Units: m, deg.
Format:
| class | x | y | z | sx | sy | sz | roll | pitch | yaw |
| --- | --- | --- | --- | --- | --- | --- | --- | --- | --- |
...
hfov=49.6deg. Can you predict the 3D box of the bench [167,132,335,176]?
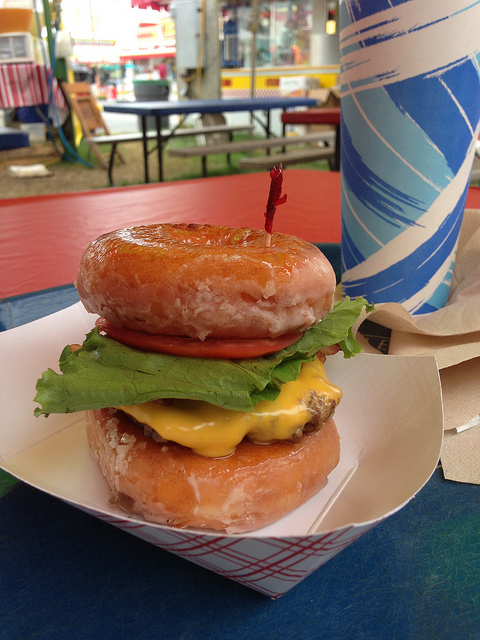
| class | x | y | z | sx | sy | sz | roll | pitch | yaw |
| --- | --- | --- | --- | --- | --- | --- | --- | --- | --- |
| bench | 0.215 | -2.232 | 6.610 | 0.586 | 0.284 | 2.749 | 27 | 40 | 32 |
